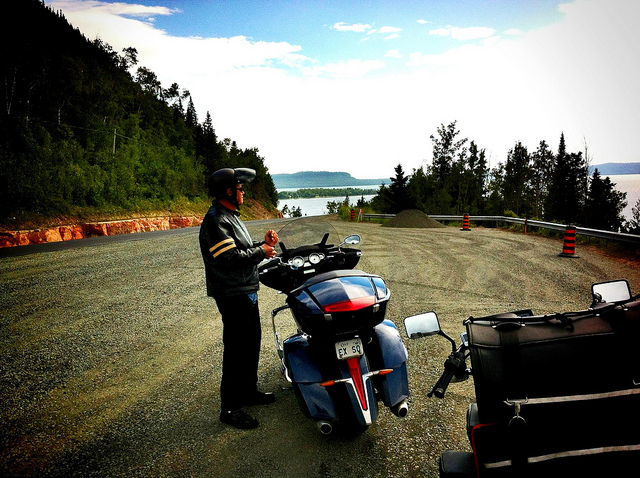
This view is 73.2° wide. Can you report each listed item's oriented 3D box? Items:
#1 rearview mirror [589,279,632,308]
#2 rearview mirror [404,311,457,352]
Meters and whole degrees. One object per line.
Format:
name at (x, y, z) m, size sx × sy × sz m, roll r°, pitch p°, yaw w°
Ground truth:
rearview mirror at (2.699, 0.499, 4.027) m, size 0.350 × 0.259 × 0.163 m, roll -4°, pitch 8°, yaw -7°
rearview mirror at (0.985, 0.800, 4.009) m, size 0.386 × 0.224 × 0.162 m, roll -3°, pitch 8°, yaw -1°
